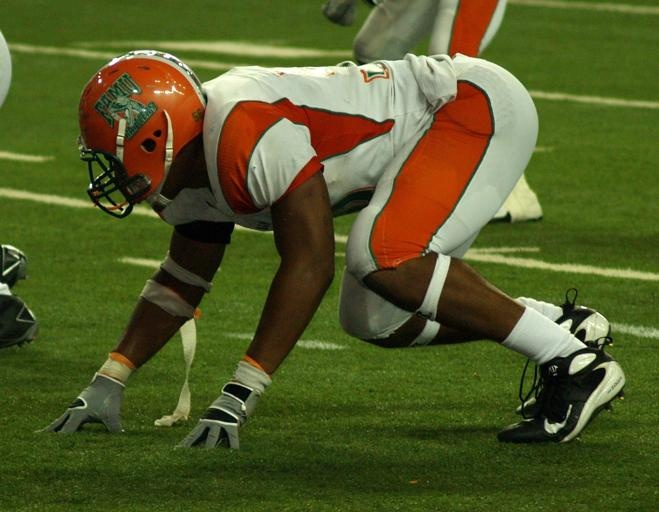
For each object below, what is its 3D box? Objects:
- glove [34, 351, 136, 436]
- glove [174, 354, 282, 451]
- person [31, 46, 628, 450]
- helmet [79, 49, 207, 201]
[{"bbox_3d":[-0.785,0.486,3.671,0.170,0.330,0.139,37,-8,8],"label":"glove"},{"bbox_3d":[-0.303,0.471,3.490,0.184,0.346,0.111,39,4,17],"label":"glove"},{"bbox_3d":[-0.040,-0.019,4.001,1.962,1.244,1.040,-3,-1,-17],"label":"person"},{"bbox_3d":[-0.506,-0.420,3.494,0.447,0.452,0.363,-4,6,-1],"label":"helmet"}]
